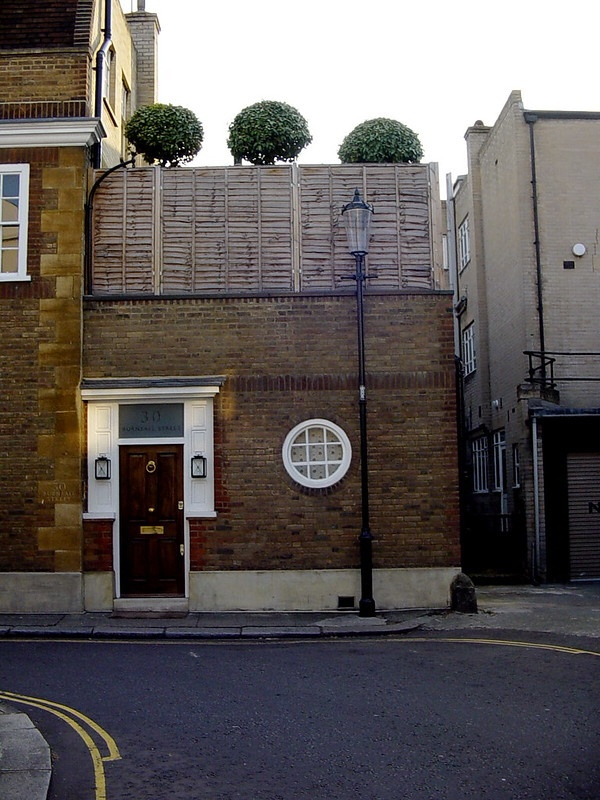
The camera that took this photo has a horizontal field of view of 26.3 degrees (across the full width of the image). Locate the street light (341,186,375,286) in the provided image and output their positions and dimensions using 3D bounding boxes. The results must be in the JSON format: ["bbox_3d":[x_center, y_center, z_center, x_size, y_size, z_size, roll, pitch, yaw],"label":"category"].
[{"bbox_3d":[0.762,-2.167,16.801,0.406,1.225,0.729,0,1,4],"label":"street light"}]

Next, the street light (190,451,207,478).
[{"bbox_3d":[-1.301,0.889,16.634,0.215,0.396,0.240,0,0,-15],"label":"street light"}]

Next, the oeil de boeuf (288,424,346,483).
[{"bbox_3d":[0.219,0.733,16.870,0.792,0.988,0.081,-2,-32,-1],"label":"oeil de boeuf"}]

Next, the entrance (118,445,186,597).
[{"bbox_3d":[-1.911,1.559,16.785,0.844,2.311,0.368,-1,26,-6],"label":"entrance"}]
